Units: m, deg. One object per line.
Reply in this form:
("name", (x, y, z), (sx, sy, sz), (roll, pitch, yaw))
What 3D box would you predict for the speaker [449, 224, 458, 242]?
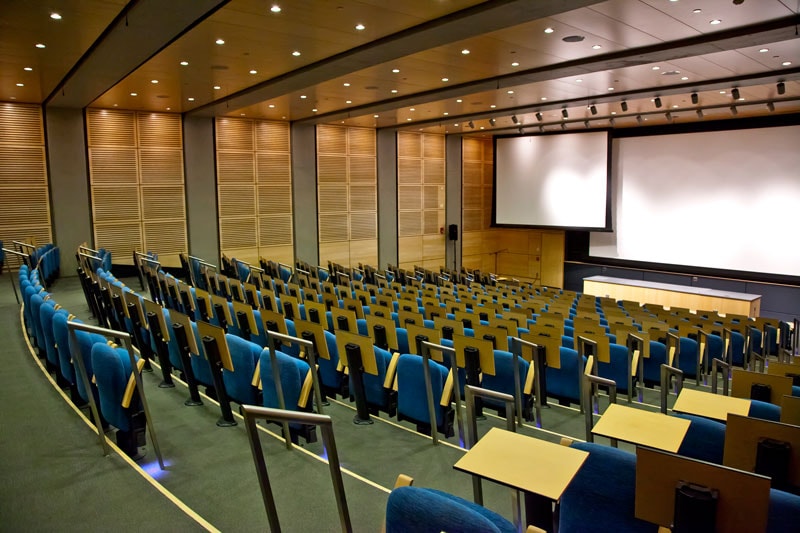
("speaker", (2.351, -1.489, 23.317), (0.217, 0.751, 0.565), (6, 8, 40))
